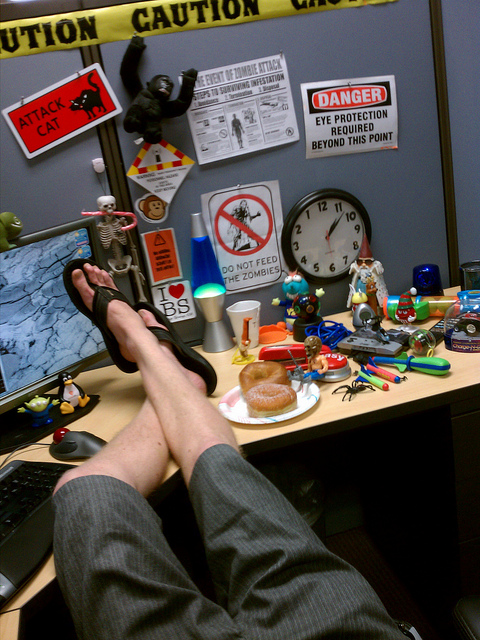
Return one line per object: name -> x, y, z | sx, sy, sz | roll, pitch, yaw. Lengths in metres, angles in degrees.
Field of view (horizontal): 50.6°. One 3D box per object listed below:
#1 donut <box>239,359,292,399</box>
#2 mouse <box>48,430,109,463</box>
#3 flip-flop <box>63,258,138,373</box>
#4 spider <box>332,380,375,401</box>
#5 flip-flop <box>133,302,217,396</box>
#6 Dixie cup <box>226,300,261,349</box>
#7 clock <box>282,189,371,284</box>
donut -> 0.022, 0.127, 1.081 | 0.167, 0.060, 0.157 | -5, -2, 12
mouse -> -0.285, 0.206, 0.872 | 0.080, 0.025, 0.057 | 5, 18, 26
flip-flop -> -0.290, -0.007, 1.108 | 0.128, 0.261, 0.101 | 13, 37, 44
spider -> 0.215, 0.132, 0.971 | 0.073, 0.013, 0.060 | -21, 27, -17
flip-flop -> -0.143, 0.056, 1.088 | 0.071, 0.143, 0.269 | -23, 27, -19
Dixie cup -> 0.016, 0.013, 1.295 | 0.093, 0.106, 0.096 | -9, 11, 2
clock -> 0.237, -0.231, 1.402 | 0.271, 0.253, 0.040 | -15, 19, -15
